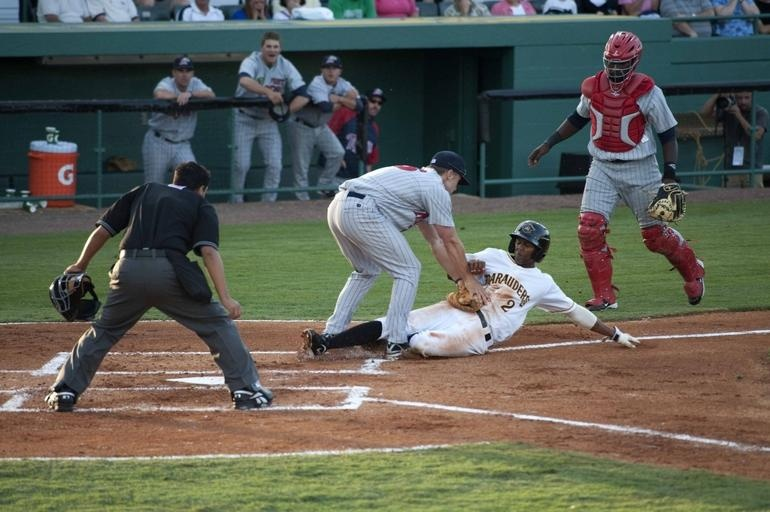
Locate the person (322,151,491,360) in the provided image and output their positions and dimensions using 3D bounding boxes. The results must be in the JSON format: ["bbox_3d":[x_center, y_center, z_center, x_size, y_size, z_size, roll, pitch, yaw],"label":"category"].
[{"bbox_3d":[0.117,-0.004,14.053,1.587,2.165,0.500,-1,5,-3],"label":"person"}]

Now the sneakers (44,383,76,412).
[{"bbox_3d":[-3.123,1.378,12.932,0.258,0.259,0.308,11,10,-11],"label":"sneakers"}]

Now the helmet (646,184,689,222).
[{"bbox_3d":[3.252,-0.583,15.374,0.564,0.453,0.394,-6,-23,22],"label":"helmet"}]

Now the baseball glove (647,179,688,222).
[{"bbox_3d":[3.124,-0.594,15.356,0.509,0.388,0.339,8,3,12],"label":"baseball glove"}]

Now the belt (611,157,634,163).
[{"bbox_3d":[2.736,-1.114,15.576,0.219,0.036,0.068,0,5,10],"label":"belt"}]

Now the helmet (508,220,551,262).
[{"bbox_3d":[1.555,-0.171,14.253,0.379,0.368,0.513,19,14,39],"label":"helmet"}]

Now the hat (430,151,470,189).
[{"bbox_3d":[0.702,-0.969,14.236,0.474,0.216,0.326,26,-11,-24],"label":"hat"}]

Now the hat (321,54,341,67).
[{"bbox_3d":[-0.832,-2.993,20.628,0.239,0.152,0.303,7,-18,8],"label":"hat"}]

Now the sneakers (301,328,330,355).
[{"bbox_3d":[-0.740,0.940,14.140,0.182,0.392,0.138,-27,46,8],"label":"sneakers"}]

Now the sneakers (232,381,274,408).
[{"bbox_3d":[-1.294,1.346,13.109,0.418,0.228,0.201,-7,21,-15],"label":"sneakers"}]

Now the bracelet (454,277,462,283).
[{"bbox_3d":[0.751,0.253,13.989,0.033,0.048,0.106,-4,6,-36],"label":"bracelet"}]

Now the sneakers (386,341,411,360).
[{"bbox_3d":[0.116,0.998,14.102,0.314,0.172,0.129,-4,19,-12],"label":"sneakers"}]

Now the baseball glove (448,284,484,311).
[{"bbox_3d":[0.896,0.439,14.110,0.353,0.146,0.252,31,-27,-8],"label":"baseball glove"}]

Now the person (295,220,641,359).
[{"bbox_3d":[0.900,0.430,14.218,3.658,1.024,1.168,-12,39,-11],"label":"person"}]

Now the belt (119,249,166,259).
[{"bbox_3d":[-2.325,-0.029,12.746,0.449,0.094,0.061,0,5,10],"label":"belt"}]

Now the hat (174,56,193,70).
[{"bbox_3d":[-3.015,-2.859,19.755,0.277,0.166,0.336,3,8,-13],"label":"hat"}]

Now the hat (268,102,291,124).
[{"bbox_3d":[-1.639,-2.192,20.296,0.193,0.236,0.269,4,6,40],"label":"hat"}]

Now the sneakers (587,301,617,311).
[{"bbox_3d":[2.537,0.585,15.729,0.375,0.128,0.118,1,14,-8],"label":"sneakers"}]

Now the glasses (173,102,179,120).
[{"bbox_3d":[-3.126,-2.166,19.868,0.052,0.137,0.204,2,-34,-36],"label":"glasses"}]

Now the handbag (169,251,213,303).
[{"bbox_3d":[-1.898,0.194,12.812,0.418,0.508,0.215,-1,5,-8],"label":"handbag"}]

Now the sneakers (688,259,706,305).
[{"bbox_3d":[3.672,0.317,15.974,0.296,0.574,0.229,2,-4,-43],"label":"sneakers"}]

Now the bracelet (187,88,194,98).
[{"bbox_3d":[-2.916,-2.454,19.956,0.044,0.121,0.138,2,-11,-21],"label":"bracelet"}]

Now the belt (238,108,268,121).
[{"bbox_3d":[-2.007,-2.175,20.245,0.309,0.102,0.199,11,28,-11],"label":"belt"}]

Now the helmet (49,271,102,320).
[{"bbox_3d":[-3.057,0.400,13.290,0.527,0.413,0.403,-11,-3,15],"label":"helmet"}]

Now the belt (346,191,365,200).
[{"bbox_3d":[-0.312,-0.637,13.928,0.172,0.025,0.075,17,46,10],"label":"belt"}]

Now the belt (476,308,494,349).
[{"bbox_3d":[1.051,0.765,14.187,0.088,0.321,0.252,-25,12,7],"label":"belt"}]
